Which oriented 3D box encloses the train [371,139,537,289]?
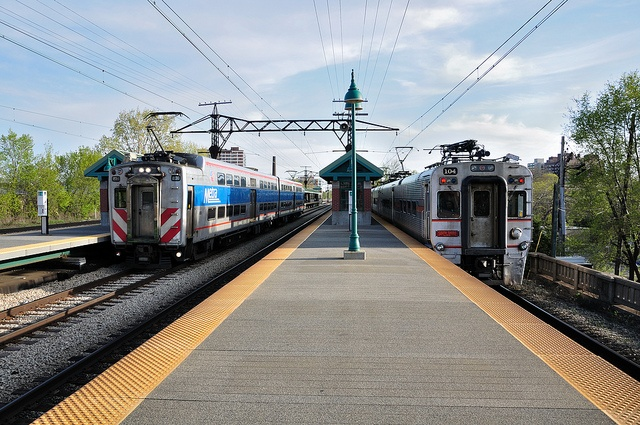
[{"bbox_3d":[4.650,-0.268,17.369,2.910,4.800,7.267,-1,4,-10],"label":"train"}]
